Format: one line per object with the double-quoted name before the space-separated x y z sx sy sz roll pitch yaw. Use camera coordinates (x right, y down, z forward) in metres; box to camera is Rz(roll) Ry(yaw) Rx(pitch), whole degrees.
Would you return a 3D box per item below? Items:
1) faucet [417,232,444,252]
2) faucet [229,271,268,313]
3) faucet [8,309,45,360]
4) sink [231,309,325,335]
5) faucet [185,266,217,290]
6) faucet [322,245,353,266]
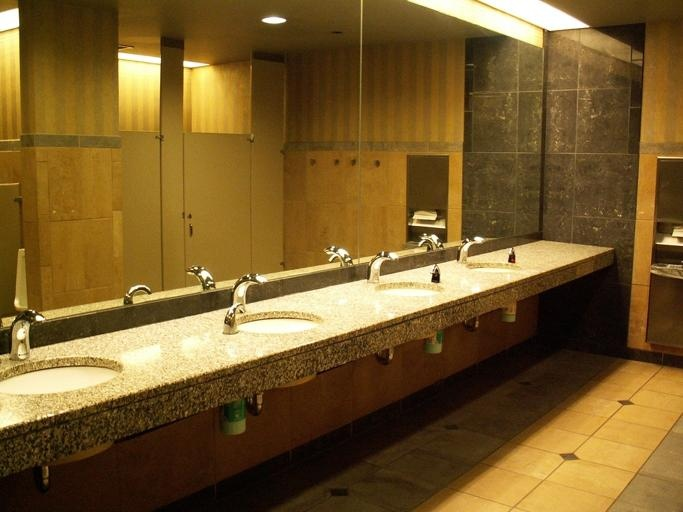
"faucet" 0.675 -0.102 4.402 0.249 0.151 0.095 0 4 -34
"faucet" -0.484 0.186 2.954 0.160 0.225 0.530 -1 10 -10
"faucet" -1.264 0.311 2.294 0.116 0.209 0.252 -6 12 -34
"sink" -0.324 0.349 2.953 0.411 0.095 0.197 -2 10 -17
"faucet" -0.733 0.116 3.005 0.041 0.138 0.166 8 12 39
"faucet" -0.024 0.003 3.675 0.208 0.133 0.082 -1 3 -36
